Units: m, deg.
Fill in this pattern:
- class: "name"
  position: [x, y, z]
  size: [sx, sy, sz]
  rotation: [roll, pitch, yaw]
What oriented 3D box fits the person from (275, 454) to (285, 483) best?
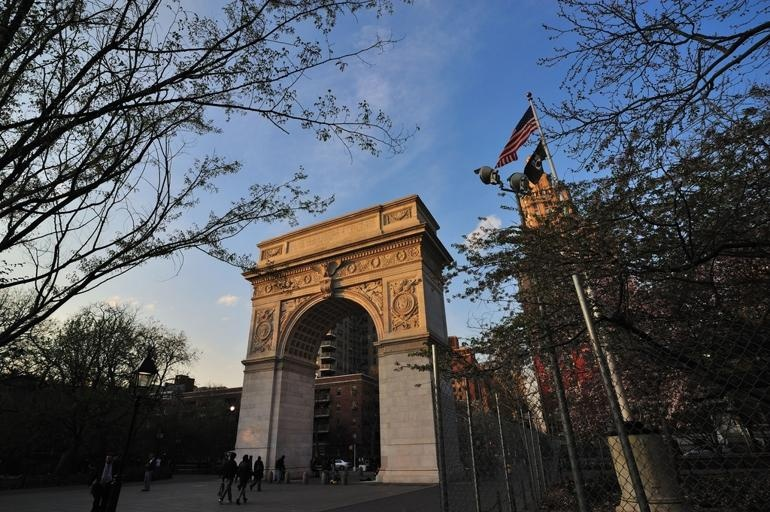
- class: "person"
  position: [-5.721, 11.564, 23.986]
  size: [0.532, 1.374, 0.991]
  rotation: [10, -30, -21]
